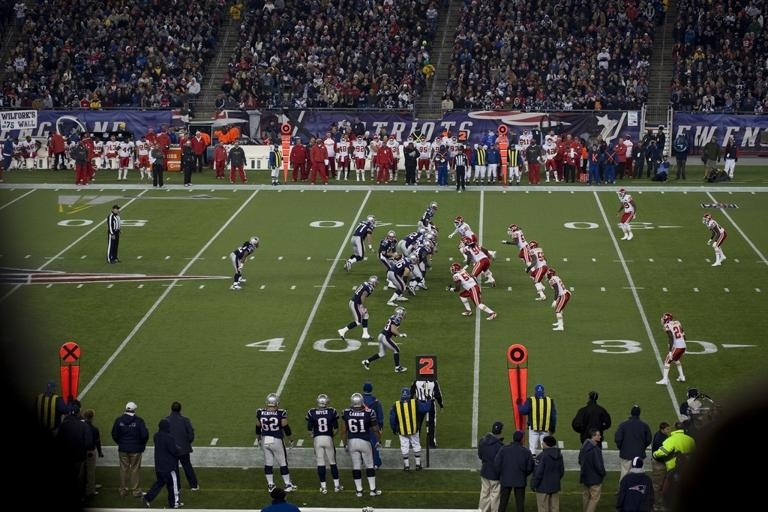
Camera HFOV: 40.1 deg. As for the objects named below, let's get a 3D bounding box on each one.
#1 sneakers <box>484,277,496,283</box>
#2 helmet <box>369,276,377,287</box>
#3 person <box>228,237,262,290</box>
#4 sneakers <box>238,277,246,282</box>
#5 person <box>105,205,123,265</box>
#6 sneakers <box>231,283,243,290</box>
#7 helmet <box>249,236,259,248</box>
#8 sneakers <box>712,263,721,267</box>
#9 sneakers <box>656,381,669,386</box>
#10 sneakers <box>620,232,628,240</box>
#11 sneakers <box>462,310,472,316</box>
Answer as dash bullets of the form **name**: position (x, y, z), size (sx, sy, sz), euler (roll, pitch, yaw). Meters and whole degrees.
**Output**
- **sneakers**: position (3.474, 0.794, 34.634), size (0.117, 0.142, 0.409), euler (-8, 16, -35)
- **helmet**: position (-0.345, 0.709, 29.028), size (0.232, 0.271, 0.266), euler (10, 13, 19)
- **person**: position (-4.651, 0.321, 35.545), size (0.619, 0.740, 1.474), euler (10, -35, -19)
- **sneakers**: position (-4.678, 0.773, 35.176), size (0.280, 0.136, 0.094), euler (7, 24, 33)
- **person**: position (-9.449, -0.663, 37.111), size (0.614, 2.440, 0.874), euler (1, 37, -12)
- **sneakers**: position (-4.758, 0.934, 34.143), size (0.417, 0.297, 0.146), euler (-1, 40, -10)
- **helmet**: position (-4.251, -0.457, 34.726), size (0.364, 0.367, 0.284), euler (-11, 25, -42)
- **sneakers**: position (11.337, 0.291, 36.031), size (0.317, 0.100, 0.301), euler (2, 3, 12)
- **sneakers**: position (7.074, 3.246, 26.941), size (0.307, 0.137, 0.116), euler (5, 11, 25)
- **sneakers**: position (8.886, -0.726, 39.139), size (0.127, 0.236, 0.323), euler (-4, 4, -21)
- **sneakers**: position (2.507, 1.736, 31.858), size (0.311, 0.160, 0.115), euler (6, 11, 32)
